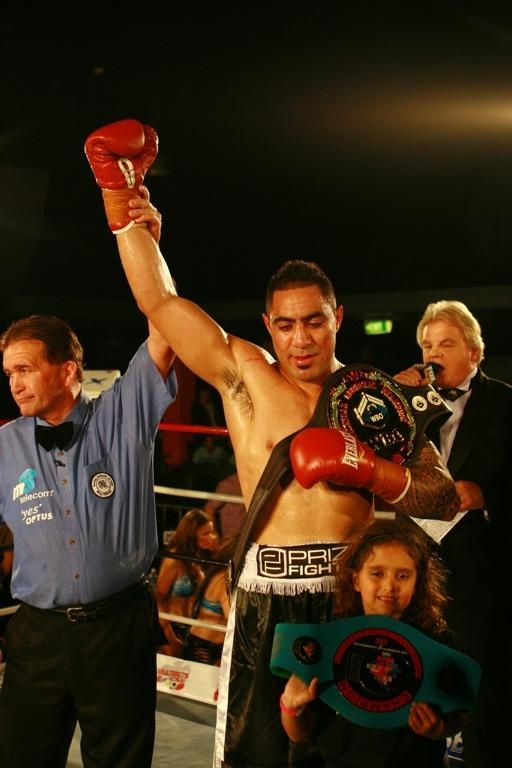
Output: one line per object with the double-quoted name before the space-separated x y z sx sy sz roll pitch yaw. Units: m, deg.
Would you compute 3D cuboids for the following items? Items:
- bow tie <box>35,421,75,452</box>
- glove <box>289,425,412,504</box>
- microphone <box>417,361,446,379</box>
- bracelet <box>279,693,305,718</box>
"bow tie" -0.589 0.158 1.977 0.098 0.067 0.016 -3 2 13
"glove" 0.247 0.199 1.685 0.273 0.156 0.104 15 -32 -34
"microphone" 0.592 -0.046 2.255 0.056 0.051 0.015 -20 -12 -49
"bracelet" 0.093 0.794 1.661 0.077 0.030 0.083 1 0 4
